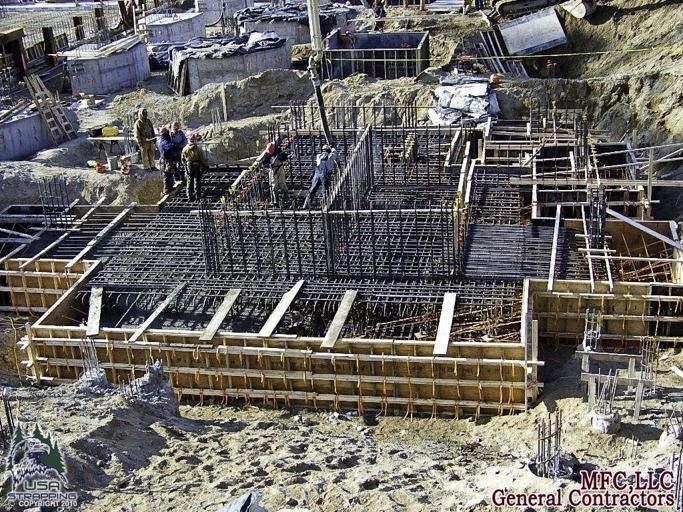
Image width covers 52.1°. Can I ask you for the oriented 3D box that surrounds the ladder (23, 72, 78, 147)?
[{"bbox_3d":[-10.172,-5.069,24.561,1.084,0.461,3.541,-16,65,-35],"label":"ladder"}]

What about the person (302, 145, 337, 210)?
[{"bbox_3d":[-0.495,-1.850,16.641,0.886,1.253,2.355,-7,27,2],"label":"person"}]

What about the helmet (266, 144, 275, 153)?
[{"bbox_3d":[-1.737,-2.661,17.240,0.174,0.131,0.256,2,60,4],"label":"helmet"}]

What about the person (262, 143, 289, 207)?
[{"bbox_3d":[-1.598,-2.164,17.588,0.574,1.485,2.430,-10,27,-4],"label":"person"}]
